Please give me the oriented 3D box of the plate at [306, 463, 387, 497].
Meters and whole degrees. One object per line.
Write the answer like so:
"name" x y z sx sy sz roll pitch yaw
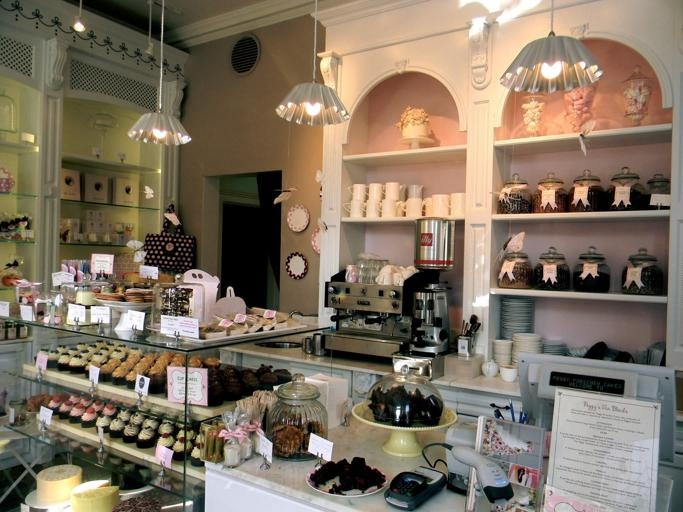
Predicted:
"plate" 0.016 0.861 2.019 0.301 0.058 0.156 2 -1 10

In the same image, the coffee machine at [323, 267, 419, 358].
"coffee machine" 0.189 0.415 3.786 0.626 0.618 0.368 1 -1 28

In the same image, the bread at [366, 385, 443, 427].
"bread" 0.259 0.632 2.223 0.194 0.101 0.196 1 -2 -1

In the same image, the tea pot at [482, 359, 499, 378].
"tea pot" 0.987 0.756 3.488 0.100 0.119 0.100 2 -9 0

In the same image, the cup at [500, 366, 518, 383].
"cup" 1.079 0.763 3.378 0.102 0.087 0.100 -1 -9 0

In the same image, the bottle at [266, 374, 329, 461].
"bottle" -0.198 0.694 2.297 0.271 0.303 0.274 1 -4 10

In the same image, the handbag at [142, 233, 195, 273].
"handbag" -1.725 -0.028 5.216 0.382 0.339 0.130 2 4 4

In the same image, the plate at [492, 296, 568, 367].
"plate" 1.244 0.492 3.651 0.361 0.567 0.555 2 -2 -39

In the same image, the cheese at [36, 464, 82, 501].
"cheese" -1.466 1.138 2.689 0.160 0.095 0.159 3 -2 -35

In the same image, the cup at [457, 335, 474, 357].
"cup" 0.830 0.608 3.530 0.128 0.138 0.097 0 0 13

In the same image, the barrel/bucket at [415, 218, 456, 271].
"barrel/bucket" 0.657 -0.082 3.653 0.288 0.328 0.291 2 -2 0

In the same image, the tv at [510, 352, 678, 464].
"tv" 0.979 0.584 2.018 0.566 0.373 0.214 2 -1 18
